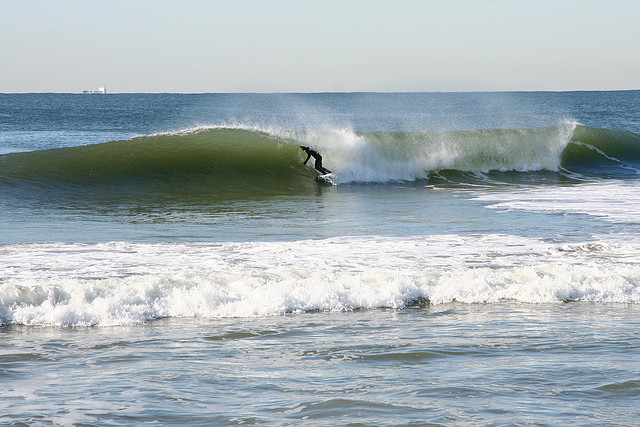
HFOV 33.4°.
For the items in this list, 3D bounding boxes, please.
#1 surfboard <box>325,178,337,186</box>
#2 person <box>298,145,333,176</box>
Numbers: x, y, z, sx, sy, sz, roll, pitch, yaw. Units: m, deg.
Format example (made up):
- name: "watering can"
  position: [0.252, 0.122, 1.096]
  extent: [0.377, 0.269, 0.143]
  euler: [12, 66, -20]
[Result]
- name: "surfboard"
  position: [0.226, -0.860, 29.655]
  extent: [0.455, 0.095, 0.112]
  euler: [15, 32, 28]
- name: "person"
  position: [-0.169, -1.497, 30.462]
  extent: [0.760, 0.869, 1.064]
  euler: [-2, 1, -21]
